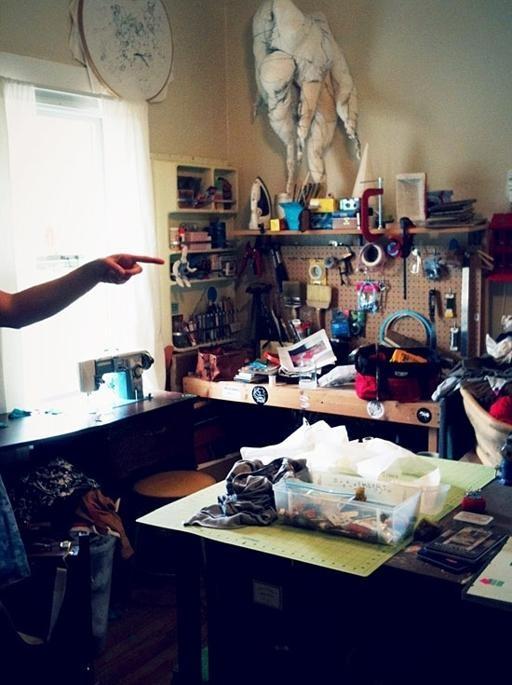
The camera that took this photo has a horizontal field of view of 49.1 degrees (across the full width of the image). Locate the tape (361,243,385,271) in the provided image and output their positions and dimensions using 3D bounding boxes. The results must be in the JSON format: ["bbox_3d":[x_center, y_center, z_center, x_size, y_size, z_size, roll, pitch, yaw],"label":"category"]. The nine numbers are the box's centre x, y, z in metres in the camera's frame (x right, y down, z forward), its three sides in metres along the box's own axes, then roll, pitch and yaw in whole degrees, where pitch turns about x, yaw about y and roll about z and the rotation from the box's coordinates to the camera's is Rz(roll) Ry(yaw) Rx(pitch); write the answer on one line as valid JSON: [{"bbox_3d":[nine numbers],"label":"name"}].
[{"bbox_3d":[0.694,-0.513,3.316,0.137,0.143,0.088,4,6,28],"label":"tape"}]

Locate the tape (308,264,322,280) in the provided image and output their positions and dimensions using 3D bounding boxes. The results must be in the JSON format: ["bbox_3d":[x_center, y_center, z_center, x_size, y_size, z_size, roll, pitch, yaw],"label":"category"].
[{"bbox_3d":[0.384,-0.455,3.601,0.025,0.098,0.104,-13,15,-38],"label":"tape"}]

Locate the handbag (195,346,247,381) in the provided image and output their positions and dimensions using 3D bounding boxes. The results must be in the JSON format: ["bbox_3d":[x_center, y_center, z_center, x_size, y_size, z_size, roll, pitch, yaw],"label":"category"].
[{"bbox_3d":[-0.204,0.112,3.655,0.187,0.144,0.289,5,12,33],"label":"handbag"}]

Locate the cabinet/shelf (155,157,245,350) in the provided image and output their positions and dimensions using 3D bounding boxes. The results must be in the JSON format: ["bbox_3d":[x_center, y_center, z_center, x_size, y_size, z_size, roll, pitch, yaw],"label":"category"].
[{"bbox_3d":[-0.397,-0.614,3.674,0.289,1.185,0.913,1,13,27],"label":"cabinet/shelf"}]

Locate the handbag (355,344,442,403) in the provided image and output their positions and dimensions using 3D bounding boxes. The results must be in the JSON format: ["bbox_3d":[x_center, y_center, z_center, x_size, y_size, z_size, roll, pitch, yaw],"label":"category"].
[{"bbox_3d":[0.922,0.167,3.139,0.512,0.323,0.667,1,3,44],"label":"handbag"}]

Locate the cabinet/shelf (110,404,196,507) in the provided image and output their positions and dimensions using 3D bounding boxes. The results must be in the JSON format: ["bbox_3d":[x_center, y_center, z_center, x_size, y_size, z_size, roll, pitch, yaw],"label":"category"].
[{"bbox_3d":[-0.528,0.498,2.863,0.419,0.464,0.498,2,8,35],"label":"cabinet/shelf"}]
